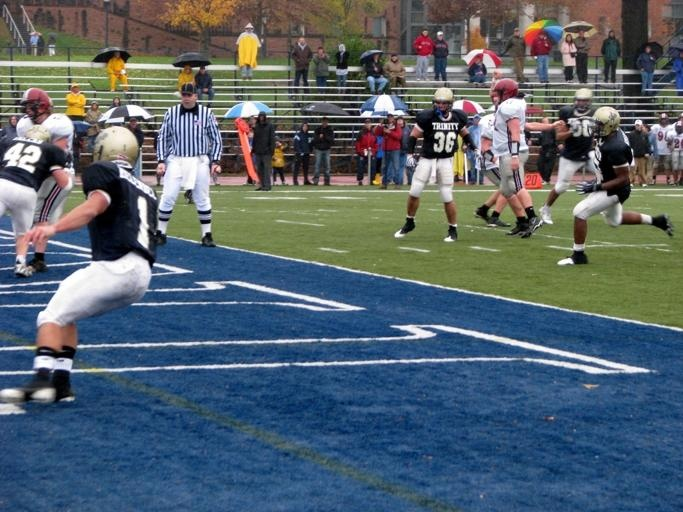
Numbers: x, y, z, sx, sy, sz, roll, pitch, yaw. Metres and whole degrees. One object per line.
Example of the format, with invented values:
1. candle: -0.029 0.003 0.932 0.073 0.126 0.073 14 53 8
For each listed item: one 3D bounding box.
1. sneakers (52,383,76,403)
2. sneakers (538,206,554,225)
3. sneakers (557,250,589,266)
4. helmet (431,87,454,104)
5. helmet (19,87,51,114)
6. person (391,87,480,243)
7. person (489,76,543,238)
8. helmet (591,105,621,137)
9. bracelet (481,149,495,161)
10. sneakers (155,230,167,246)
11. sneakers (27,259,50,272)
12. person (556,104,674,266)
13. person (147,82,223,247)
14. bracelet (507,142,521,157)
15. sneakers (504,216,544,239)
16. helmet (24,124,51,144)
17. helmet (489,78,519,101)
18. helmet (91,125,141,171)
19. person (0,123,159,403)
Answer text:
1. sneakers: -2.019 1.011 9.412 0.155 0.116 0.125 -3 3 -14
2. sneakers: 3.151 -0.668 19.172 0.232 0.239 0.587 -1 13 -5
3. sneakers: 2.766 -0.005 15.106 0.465 0.203 0.143 1 5 1
4. helmet: 1.342 -2.140 16.724 0.238 0.199 0.277 6 18 13
5. helmet: -3.177 -1.684 13.430 0.305 0.207 0.223 -21 29 -34
6. person: 1.281 -1.229 17.045 0.981 2.092 1.049 3 12 2
7. person: 2.421 -1.348 17.423 0.678 2.161 1.159 2 12 1
8. helmet: 3.019 -1.543 14.502 0.282 0.346 0.335 4 12 9
9. bracelet: 2.107 -1.454 18.073 0.208 0.110 0.077 14 18 -16
10. sneakers: -2.239 -0.253 16.184 0.174 0.177 0.466 -2 0 -20
11. sneakers: -3.287 0.085 13.951 0.100 0.104 0.257 3 -7 4
12. person: 3.170 -0.860 15.048 0.919 1.880 1.164 6 13 15
13. person: -1.852 -1.126 15.839 0.780 2.045 0.522 1 13 -6
14. bracelet: 2.348 -1.472 17.128 0.204 0.230 0.168 1 2 -5
15. sneakers: 2.551 -0.407 17.395 0.666 0.233 0.213 -8 3 37
16. helmet: -3.054 -1.261 12.996 0.249 0.196 0.187 33 27 21
17. helmet: 2.241 -2.312 17.448 0.404 0.260 0.270 3 11 5
18. helmet: -1.685 -0.848 9.664 0.397 0.288 0.283 5 -3 11
19. person: -1.858 0.072 9.424 1.191 1.994 0.494 -7 15 -35
